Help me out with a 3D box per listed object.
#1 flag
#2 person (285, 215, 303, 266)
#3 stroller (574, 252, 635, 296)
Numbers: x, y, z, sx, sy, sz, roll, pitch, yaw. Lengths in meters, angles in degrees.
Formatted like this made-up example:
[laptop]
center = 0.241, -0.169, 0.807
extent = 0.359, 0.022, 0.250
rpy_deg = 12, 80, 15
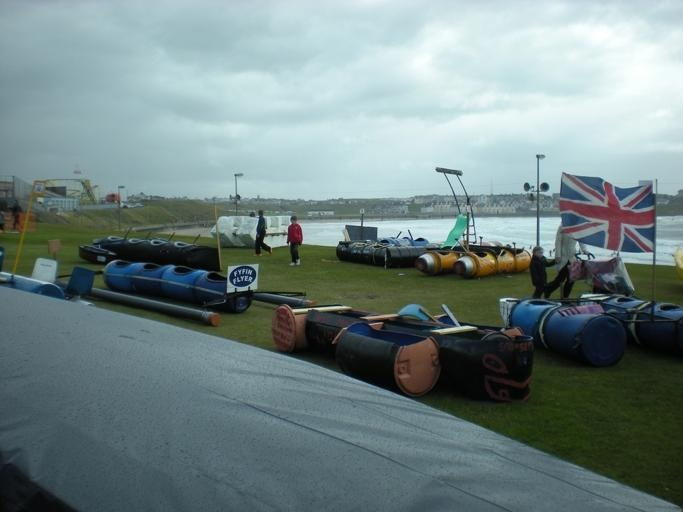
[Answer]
[flag]
center = 4.345, -0.677, 8.200
extent = 1.806, 1.185, 0.187
rpy_deg = 6, -8, -13
[person]
center = -1.847, -0.593, 20.003
extent = 0.486, 1.955, 1.488
rpy_deg = 1, 6, -7
[stroller]
center = 5.963, 0.348, 11.660
extent = 1.502, 0.689, 0.961
rpy_deg = 10, 14, 35
